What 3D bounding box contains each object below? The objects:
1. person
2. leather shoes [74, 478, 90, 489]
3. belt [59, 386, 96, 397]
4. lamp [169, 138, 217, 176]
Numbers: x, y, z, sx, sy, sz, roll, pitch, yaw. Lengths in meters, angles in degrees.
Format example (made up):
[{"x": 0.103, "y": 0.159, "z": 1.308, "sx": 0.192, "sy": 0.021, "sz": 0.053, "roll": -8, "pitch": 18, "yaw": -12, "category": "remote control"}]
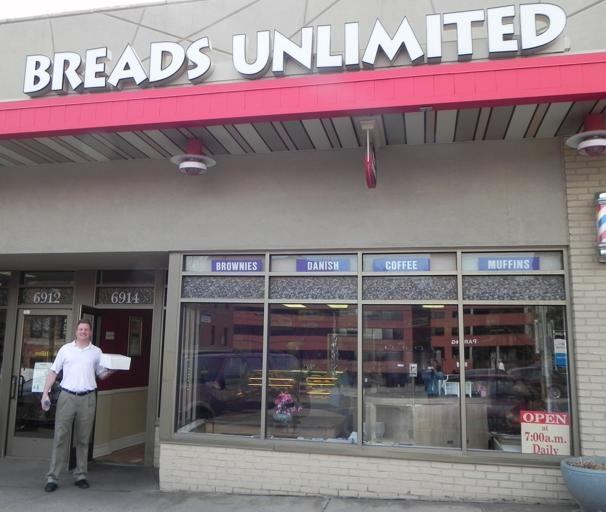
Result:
[{"x": -3.182, "y": 2.060, "z": 8.042, "sx": 0.831, "sy": 2.321, "sz": 0.377, "roll": 2, "pitch": -9, "yaw": -21, "category": "person"}, {"x": -3.123, "y": 3.185, "z": 8.102, "sx": 0.195, "sy": 0.075, "sz": 0.100, "roll": -5, "pitch": -9, "yaw": 39, "category": "leather shoes"}, {"x": -3.138, "y": 1.873, "z": 8.030, "sx": 0.455, "sy": 0.139, "sz": 0.220, "roll": 2, "pitch": -8, "yaw": -24, "category": "belt"}, {"x": -1.508, "y": -1.331, "z": 7.928, "sx": 0.535, "sy": 0.376, "sz": 0.517, "roll": -1, "pitch": -12, "yaw": 0, "category": "lamp"}]
